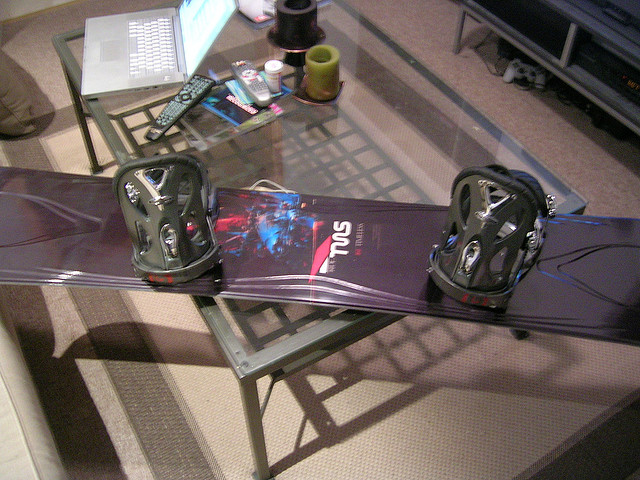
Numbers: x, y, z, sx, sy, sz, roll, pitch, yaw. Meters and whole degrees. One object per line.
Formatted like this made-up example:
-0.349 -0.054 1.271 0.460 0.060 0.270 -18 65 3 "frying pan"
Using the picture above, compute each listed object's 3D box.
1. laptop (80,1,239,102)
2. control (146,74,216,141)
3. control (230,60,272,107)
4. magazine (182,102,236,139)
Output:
-0.569 -0.621 1.925 0.472 0.308 0.492 -5 55 -12 "laptop"
-0.444 -0.444 1.737 0.284 0.191 0.242 -10 46 -8 "control"
-0.228 -0.525 1.689 0.091 0.050 0.206 -25 67 -14 "control"
-0.355 -0.376 1.631 0.119 0.028 0.097 -18 47 -12 "magazine"
